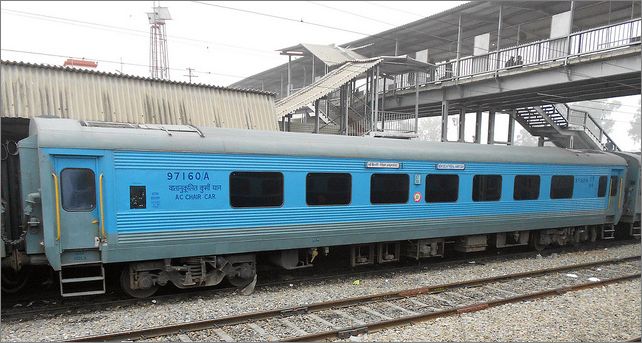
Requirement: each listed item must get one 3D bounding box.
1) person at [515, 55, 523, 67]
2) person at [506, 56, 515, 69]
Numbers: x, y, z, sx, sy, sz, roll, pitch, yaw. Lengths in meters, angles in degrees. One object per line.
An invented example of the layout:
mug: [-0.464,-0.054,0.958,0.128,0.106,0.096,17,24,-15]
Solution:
person: [12.406,-6.956,30.476,0.461,0.774,0.690,-3,-4,20]
person: [12.027,-6.995,30.915,0.604,0.733,0.360,-2,-3,11]
